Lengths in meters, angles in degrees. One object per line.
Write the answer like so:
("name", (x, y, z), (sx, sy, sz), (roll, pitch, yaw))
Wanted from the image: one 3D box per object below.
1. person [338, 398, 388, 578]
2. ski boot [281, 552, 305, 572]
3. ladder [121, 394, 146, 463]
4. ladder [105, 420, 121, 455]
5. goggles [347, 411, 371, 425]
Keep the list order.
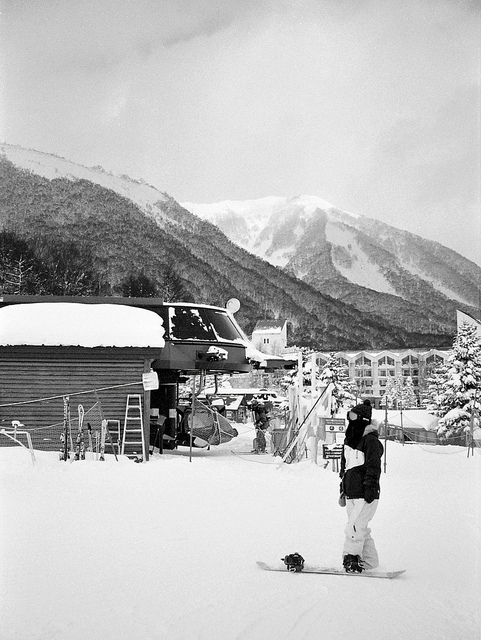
("person", (1.030, 1.411, 7.913), (0.389, 1.455, 0.618), (-2, -6, 8))
("ski boot", (0.437, 1.991, 7.656), (0.121, 0.132, 0.064), (3, -4, 3))
("ladder", (-1.802, 1.805, 15.753), (0.404, 1.124, 0.638), (0, -6, -7))
("ladder", (-2.143, 1.965, 15.695), (0.261, 0.572, 0.492), (0, -7, -8))
("goggles", (1.007, 0.838, 7.958), (0.203, 0.122, 0.162), (-3, -8, 8))
